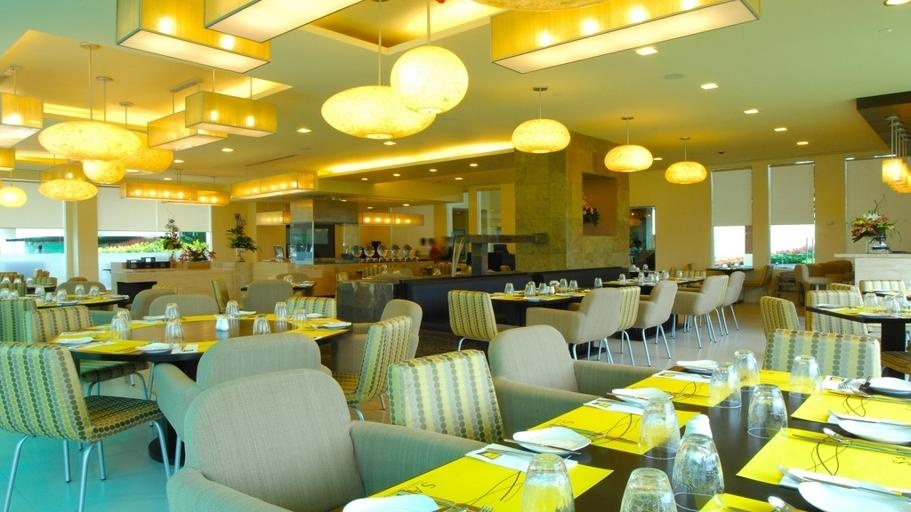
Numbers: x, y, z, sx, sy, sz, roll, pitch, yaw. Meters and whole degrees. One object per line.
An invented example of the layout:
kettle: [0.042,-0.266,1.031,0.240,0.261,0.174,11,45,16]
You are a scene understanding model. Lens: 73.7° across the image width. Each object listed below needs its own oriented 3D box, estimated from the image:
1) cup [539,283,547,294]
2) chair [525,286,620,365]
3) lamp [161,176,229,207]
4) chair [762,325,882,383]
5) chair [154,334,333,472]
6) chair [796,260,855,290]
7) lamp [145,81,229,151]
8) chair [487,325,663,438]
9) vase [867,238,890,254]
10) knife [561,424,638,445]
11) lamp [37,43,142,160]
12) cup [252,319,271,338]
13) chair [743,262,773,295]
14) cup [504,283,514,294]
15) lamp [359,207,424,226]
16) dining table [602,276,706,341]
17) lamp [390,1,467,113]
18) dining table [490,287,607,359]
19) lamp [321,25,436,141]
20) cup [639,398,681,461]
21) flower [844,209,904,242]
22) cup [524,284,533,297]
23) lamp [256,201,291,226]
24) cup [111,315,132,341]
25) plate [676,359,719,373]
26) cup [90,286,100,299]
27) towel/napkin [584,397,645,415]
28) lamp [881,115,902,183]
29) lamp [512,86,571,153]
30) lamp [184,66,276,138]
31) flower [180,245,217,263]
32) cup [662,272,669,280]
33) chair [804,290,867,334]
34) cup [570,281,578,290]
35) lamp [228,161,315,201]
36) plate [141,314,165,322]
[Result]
cup: [1.246,0.457,8.457,0.139,0.116,0.135,0,-9,0]
chair: [1.231,0.767,7.570,1.125,1.120,1.057,1,0,39]
lamp: [-6.462,-1.427,14.283,1.493,0.289,1.342,3,-3,-43]
chair: [2.834,0.735,4.756,0.534,0.600,0.552,-1,-8,20]
chair: [-1.788,0.994,5.019,1.358,0.954,1.033,0,0,-30]
chair: [8.134,0.392,13.317,0.939,0.481,1.631,-2,-1,42]
lamp: [-3.841,-2.034,8.612,1.247,0.748,0.638,-4,-5,39]
chair: [0.808,0.931,4.786,0.891,1.017,1.005,-6,-4,-43]
vase: [8.026,-0.204,11.496,0.484,0.250,0.446,-1,-2,16]
knife: [0.898,1.117,3.777,0.499,0.055,0.110,-1,13,23]
lamp: [-4.775,-1.970,8.015,1.026,1.562,2.219,-2,0,-27]
cup: [-1.746,0.647,5.450,0.211,0.163,0.151,0,-3,-16]
chair: [7.186,0.537,14.398,0.742,0.937,0.806,1,1,34]
cup: [0.771,0.443,8.396,0.155,0.119,0.140,-1,1,-21]
lamp: [-2.038,-1.140,18.484,0.615,0.382,2.419,-2,-1,41]
dining table: [2.856,0.692,8.540,1.222,1.212,1.093,1,1,40]
lamp: [-0.249,-1.659,5.630,0.681,0.826,0.266,-2,0,-5]
dining table: [1.238,0.786,7.458,0.990,0.975,0.884,0,-1,38]
lamp: [-0.763,-1.652,6.201,0.910,0.758,0.796,2,-2,-15]
cup: [1.202,1.011,3.661,0.382,0.333,0.343,-1,2,14]
flower: [8.386,-0.633,12.052,0.940,0.453,0.876,-6,0,-29]
cup: [1.000,0.452,8.250,0.159,0.124,0.148,-1,-2,0]
lamp: [-5.353,-1.298,17.725,0.953,0.733,2.609,-1,0,-17]
cup: [-3.054,0.643,5.504,0.152,0.229,0.086,-2,0,-19]
plate: [1.826,0.816,4.511,0.190,0.041,0.169,0,-1,-19]
cup: [-5.438,0.545,9.129,0.226,0.175,0.207,0,-1,0]
towel/napkin: [1.065,1.003,4.043,0.171,0.108,0.165,-1,-23,34]
lamp: [7.676,-1.745,10.605,0.278,0.760,2.408,-2,-1,37]
lamp: [1.207,-1.915,8.525,0.686,0.813,1.439,-2,0,10]
lamp: [-2.923,-1.789,7.818,1.239,0.457,0.627,4,-10,-43]
flower: [-6.383,-0.018,14.822,0.736,0.345,0.701,-2,-4,32]
cup: [3.737,0.352,10.819,0.099,0.075,0.123,-2,-3,9]
chair: [4.197,0.615,6.674,0.629,0.494,0.410,1,2,4]
cup: [1.725,0.415,8.762,0.146,0.123,0.143,0,-6,0]
lamp: [-4.253,-1.670,14.191,2.612,0.584,0.419,-2,0,37]
plate: [-3.200,0.653,6.427,0.146,0.033,0.144,-1,-2,34]
